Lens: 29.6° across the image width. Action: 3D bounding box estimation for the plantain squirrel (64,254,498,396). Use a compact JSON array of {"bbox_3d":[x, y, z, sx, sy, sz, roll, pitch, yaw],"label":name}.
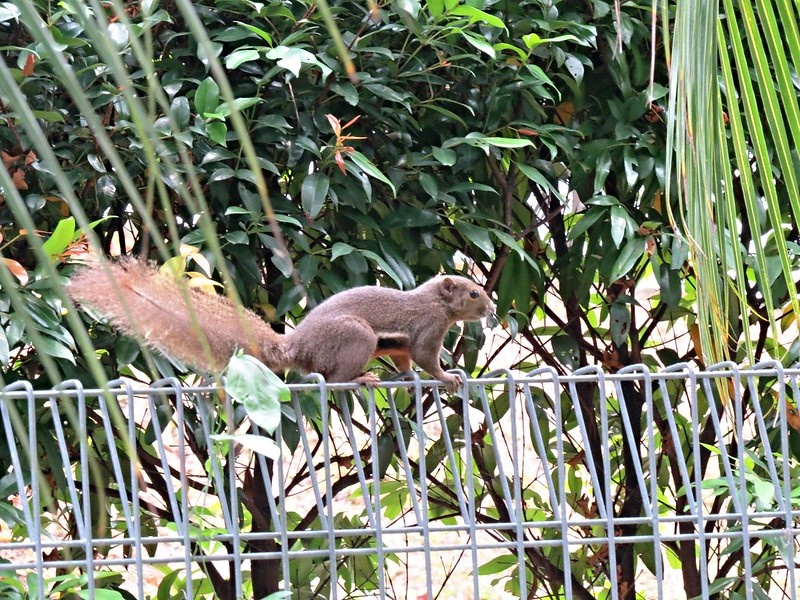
[{"bbox_3d":[-0.278,0.065,4.545,1.430,0.472,0.571,-7,5,-31],"label":"plantain squirrel"}]
